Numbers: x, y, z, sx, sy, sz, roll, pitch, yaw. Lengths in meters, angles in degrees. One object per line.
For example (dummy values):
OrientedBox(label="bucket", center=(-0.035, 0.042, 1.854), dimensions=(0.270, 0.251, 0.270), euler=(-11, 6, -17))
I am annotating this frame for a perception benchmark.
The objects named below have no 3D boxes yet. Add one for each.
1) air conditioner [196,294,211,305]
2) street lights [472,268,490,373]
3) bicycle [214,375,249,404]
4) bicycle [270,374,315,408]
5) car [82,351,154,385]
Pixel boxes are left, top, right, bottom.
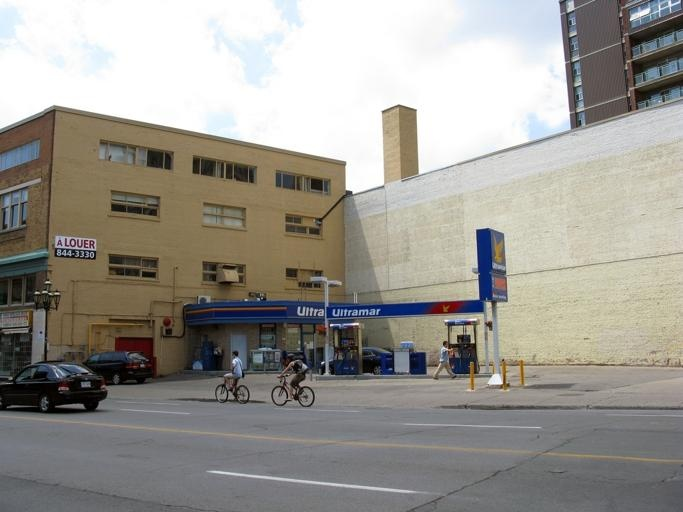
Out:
OrientedBox(label="air conditioner", center=(-10.091, 3.226, 48.227), dimensions=(0.573, 1.005, 1.058), euler=(-9, -15, 40))
OrientedBox(label="street lights", center=(8.146, 3.932, 38.033), dimensions=(0.984, 6.623, 0.719), euler=(-3, -6, 45))
OrientedBox(label="bicycle", center=(-4.497, 5.698, 27.729), dimensions=(1.774, 1.083, 0.950), euler=(1, -4, 33))
OrientedBox(label="bicycle", center=(-1.865, 5.217, 25.242), dimensions=(1.885, 1.159, 0.911), euler=(-3, -12, 23))
OrientedBox(label="car", center=(-14.022, 6.694, 40.252), dimensions=(5.063, 1.758, 2.333), euler=(0, -2, 32))
